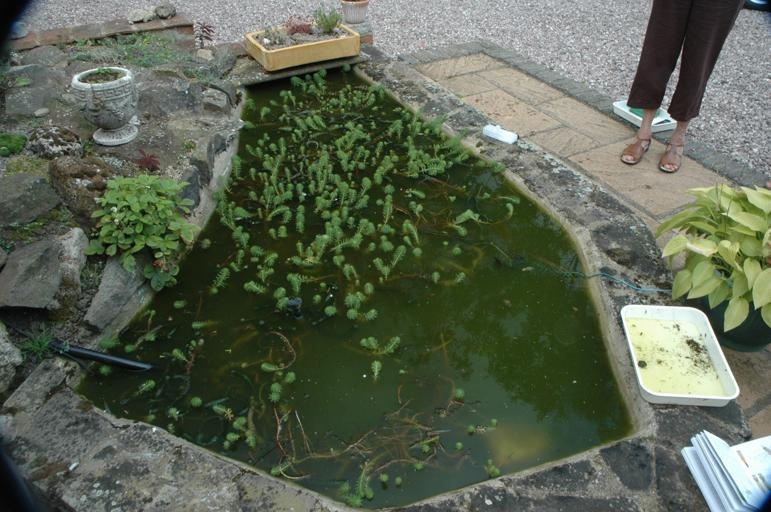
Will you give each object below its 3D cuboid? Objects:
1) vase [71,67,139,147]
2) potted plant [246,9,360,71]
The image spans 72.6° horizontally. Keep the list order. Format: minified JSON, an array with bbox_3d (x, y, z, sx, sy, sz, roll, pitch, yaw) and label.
[{"bbox_3d":[-2.815,-1.521,5.390,0.573,0.681,0.718,-3,54,1],"label":"vase"},{"bbox_3d":[-1.134,-3.002,7.307,1.441,0.486,0.765,-22,56,-14],"label":"potted plant"}]
